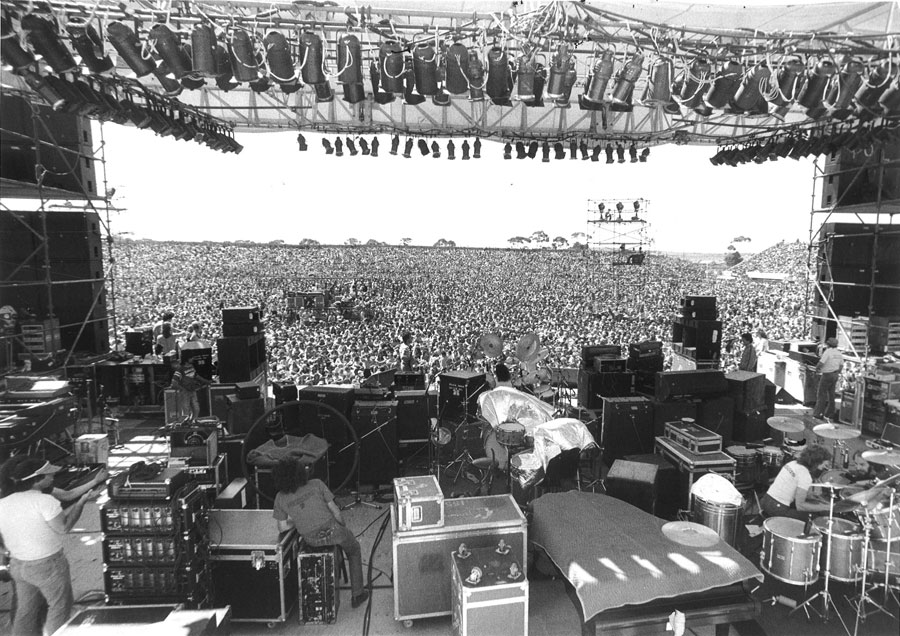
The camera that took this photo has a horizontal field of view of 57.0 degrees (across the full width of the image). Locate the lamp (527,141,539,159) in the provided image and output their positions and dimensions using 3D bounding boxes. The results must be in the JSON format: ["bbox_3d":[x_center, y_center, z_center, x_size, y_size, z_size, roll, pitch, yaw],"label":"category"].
[{"bbox_3d":[1.849,-3.842,18.754,0.204,0.436,0.573,-2,2,5],"label":"lamp"}]

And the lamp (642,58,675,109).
[{"bbox_3d":[3.530,-3.997,14.124,0.450,0.701,0.607,-1,2,12],"label":"lamp"}]

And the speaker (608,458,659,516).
[{"bbox_3d":[3.131,2.813,14.240,0.762,0.802,0.790,2,12,24],"label":"speaker"}]

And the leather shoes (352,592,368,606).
[{"bbox_3d":[-1.398,4.386,12.902,0.118,0.151,0.332,6,10,28],"label":"leather shoes"}]

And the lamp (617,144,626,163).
[{"bbox_3d":[4.084,-3.980,19.962,0.128,0.429,1.035,-1,1,14],"label":"lamp"}]

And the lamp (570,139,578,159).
[{"bbox_3d":[2.783,-3.882,19.012,0.149,0.381,0.327,-1,2,18],"label":"lamp"}]

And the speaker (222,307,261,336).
[{"bbox_3d":[-4.758,0.025,19.197,0.661,0.529,0.681,1,5,-2],"label":"speaker"}]

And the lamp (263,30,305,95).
[{"bbox_3d":[-2.693,-4.140,13.407,0.432,0.908,0.315,-13,21,1],"label":"lamp"}]

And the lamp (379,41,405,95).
[{"bbox_3d":[-0.975,-4.273,13.705,0.487,0.830,0.525,-21,54,-18],"label":"lamp"}]

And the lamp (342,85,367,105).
[{"bbox_3d":[-1.583,-3.769,13.884,0.348,0.293,0.363,-2,14,5],"label":"lamp"}]

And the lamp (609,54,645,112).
[{"bbox_3d":[2.976,-4.115,14.099,0.598,0.936,0.995,-1,2,12],"label":"lamp"}]

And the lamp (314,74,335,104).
[{"bbox_3d":[-1.973,-3.829,13.742,0.355,0.345,0.601,4,-3,-10],"label":"lamp"}]

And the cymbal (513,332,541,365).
[{"bbox_3d":[1.667,0.660,17.931,0.521,0.654,0.332,-2,2,2],"label":"cymbal"}]

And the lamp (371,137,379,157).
[{"bbox_3d":[-1.690,-3.875,18.589,0.138,0.473,0.422,-2,2,-11],"label":"lamp"}]

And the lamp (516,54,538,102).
[{"bbox_3d":[1.275,-4.061,14.060,0.324,0.694,0.341,-2,2,5],"label":"lamp"}]

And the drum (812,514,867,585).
[{"bbox_3d":[5.935,3.504,12.875,0.868,0.893,0.874,1,-1,-33],"label":"drum"}]

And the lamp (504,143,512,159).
[{"bbox_3d":[1.313,-3.832,18.925,0.219,0.363,0.091,1,0,6],"label":"lamp"}]

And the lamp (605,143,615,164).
[{"bbox_3d":[3.737,-3.929,19.603,0.155,0.434,0.511,-2,2,7],"label":"lamp"}]

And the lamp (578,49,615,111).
[{"bbox_3d":[2.484,-4.120,14.128,0.554,1.005,0.608,-13,43,-24],"label":"lamp"}]

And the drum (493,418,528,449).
[{"bbox_3d":[1.038,1.960,14.064,0.390,0.325,0.439,-1,3,-2],"label":"drum"}]

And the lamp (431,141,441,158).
[{"bbox_3d":[-0.324,-3.797,18.476,0.128,0.401,0.324,-2,2,4],"label":"lamp"}]

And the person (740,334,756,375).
[{"bbox_3d":[7.028,0.797,19.695,0.406,0.907,1.936,-1,2,20],"label":"person"}]

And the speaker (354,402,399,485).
[{"bbox_3d":[-1.227,2.454,15.705,1.132,1.720,1.221,0,-8,-6],"label":"speaker"}]

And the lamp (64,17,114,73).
[{"bbox_3d":[-5.636,-4.248,13.062,0.506,0.886,0.217,-28,32,-2],"label":"lamp"}]

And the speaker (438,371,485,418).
[{"bbox_3d":[0.294,1.646,17.073,0.875,0.937,0.887,5,8,39],"label":"speaker"}]

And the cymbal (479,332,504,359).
[{"bbox_3d":[0.864,0.585,17.760,0.473,0.538,0.547,-2,2,0],"label":"cymbal"}]

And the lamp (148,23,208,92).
[{"bbox_3d":[-4.399,-4.251,13.272,0.670,0.830,0.884,-2,2,-17],"label":"lamp"}]

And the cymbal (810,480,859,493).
[{"bbox_3d":[6.214,2.743,13.492,0.475,0.134,0.496,-2,-4,4],"label":"cymbal"}]

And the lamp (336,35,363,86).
[{"bbox_3d":[-1.628,-4.212,13.472,0.373,0.706,0.478,-2,2,-7],"label":"lamp"}]

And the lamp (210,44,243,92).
[{"bbox_3d":[-3.642,-4.051,13.485,0.330,0.617,0.369,-9,25,-22],"label":"lamp"}]

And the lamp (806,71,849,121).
[{"bbox_3d":[6.568,-3.942,14.327,0.433,0.736,0.725,25,56,11],"label":"lamp"}]

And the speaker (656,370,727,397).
[{"bbox_3d":[4.567,1.237,15.818,1.261,0.524,0.513,1,-17,-11],"label":"speaker"}]

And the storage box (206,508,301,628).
[{"bbox_3d":[-3.017,3.851,13.098,1.472,1.068,1.542,0,6,-3],"label":"storage box"}]

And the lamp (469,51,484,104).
[{"bbox_3d":[0.428,-4.031,13.682,0.260,0.768,0.341,-2,2,5],"label":"lamp"}]

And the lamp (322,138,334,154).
[{"bbox_3d":[-2.798,-3.897,18.902,0.093,0.402,0.293,-14,4,46],"label":"lamp"}]

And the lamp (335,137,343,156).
[{"bbox_3d":[-2.542,-3.951,18.951,0.151,0.424,0.278,-2,2,-15],"label":"lamp"}]

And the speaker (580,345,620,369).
[{"bbox_3d":[3.282,0.805,17.980,0.719,0.533,0.486,-1,2,-5],"label":"speaker"}]

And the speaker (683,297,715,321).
[{"bbox_3d":[6.236,-0.261,20.757,0.613,0.505,0.630,1,0,21],"label":"speaker"}]

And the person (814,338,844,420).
[{"bbox_3d":[8.518,1.373,18.812,0.560,1.804,0.666,-1,2,24],"label":"person"}]

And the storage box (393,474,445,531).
[{"bbox_3d":[-0.473,2.795,12.731,0.682,0.522,0.706,-3,10,-11],"label":"storage box"}]

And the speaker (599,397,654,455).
[{"bbox_3d":[3.468,1.999,16.080,0.867,1.203,0.758,-5,21,2],"label":"speaker"}]

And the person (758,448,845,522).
[{"bbox_3d":[5.695,2.764,13.577,0.949,1.702,0.737,-3,20,-8],"label":"person"}]

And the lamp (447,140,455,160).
[{"bbox_3d":[0.031,-3.698,18.181,0.278,0.477,0.154,-1,-8,3],"label":"lamp"}]

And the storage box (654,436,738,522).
[{"bbox_3d":[4.308,2.823,14.766,0.907,1.082,1.552,-1,9,-15],"label":"storage box"}]

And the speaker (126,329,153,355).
[{"bbox_3d":[-7.463,0.579,19.997,0.492,0.503,0.278,3,11,4],"label":"speaker"}]

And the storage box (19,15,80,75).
[{"bbox_3d":[-6.224,-4.286,12.954,0.522,0.848,0.219,-31,20,3],"label":"storage box"}]

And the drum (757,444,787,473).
[{"bbox_3d":[5.642,2.474,14.571,0.381,0.336,0.393,0,0,-12],"label":"drum"}]

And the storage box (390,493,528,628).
[{"bbox_3d":[0.113,3.591,12.622,2.523,1.943,1.585,-1,4,-9],"label":"storage box"}]

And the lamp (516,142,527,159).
[{"bbox_3d":[1.594,-3.773,18.681,0.242,0.402,0.106,-1,10,2],"label":"lamp"}]

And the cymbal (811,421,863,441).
[{"bbox_3d":[6.729,2.004,14.492,0.645,0.321,1.075,-1,1,29],"label":"cymbal"}]

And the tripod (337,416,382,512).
[{"bbox_3d":[-1.707,2.633,15.249,0.852,1.760,1.315,-10,-19,25],"label":"tripod"}]

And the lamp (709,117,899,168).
[{"bbox_3d":[8.013,-3.993,18.778,3.897,0.688,1.038,-1,2,44],"label":"lamp"}]

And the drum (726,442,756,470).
[{"bbox_3d":[5.016,2.412,14.531,0.369,0.158,0.375,-1,7,0],"label":"drum"}]

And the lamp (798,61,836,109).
[{"bbox_3d":[6.194,-4.013,14.070,0.433,0.825,0.301,24,53,18],"label":"lamp"}]

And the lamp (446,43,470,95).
[{"bbox_3d":[0.115,-4.131,13.652,0.376,0.784,0.332,-2,2,0],"label":"lamp"}]

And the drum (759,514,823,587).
[{"bbox_3d":[5.403,3.667,12.992,1.072,1.099,1.127,3,-16,9],"label":"drum"}]

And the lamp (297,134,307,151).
[{"bbox_3d":[-3.300,-3.948,18.786,0.308,0.457,0.107,-1,2,5],"label":"lamp"}]

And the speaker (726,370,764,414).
[{"bbox_3d":[5.831,1.409,16.533,0.798,0.665,0.827,-8,14,1],"label":"speaker"}]

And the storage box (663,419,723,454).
[{"bbox_3d":[4.184,2.048,14.517,0.486,0.309,0.810,-2,6,-14],"label":"storage box"}]

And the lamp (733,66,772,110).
[{"bbox_3d":[5.155,-3.885,14.154,0.454,0.753,0.304,7,36,-7],"label":"lamp"}]
